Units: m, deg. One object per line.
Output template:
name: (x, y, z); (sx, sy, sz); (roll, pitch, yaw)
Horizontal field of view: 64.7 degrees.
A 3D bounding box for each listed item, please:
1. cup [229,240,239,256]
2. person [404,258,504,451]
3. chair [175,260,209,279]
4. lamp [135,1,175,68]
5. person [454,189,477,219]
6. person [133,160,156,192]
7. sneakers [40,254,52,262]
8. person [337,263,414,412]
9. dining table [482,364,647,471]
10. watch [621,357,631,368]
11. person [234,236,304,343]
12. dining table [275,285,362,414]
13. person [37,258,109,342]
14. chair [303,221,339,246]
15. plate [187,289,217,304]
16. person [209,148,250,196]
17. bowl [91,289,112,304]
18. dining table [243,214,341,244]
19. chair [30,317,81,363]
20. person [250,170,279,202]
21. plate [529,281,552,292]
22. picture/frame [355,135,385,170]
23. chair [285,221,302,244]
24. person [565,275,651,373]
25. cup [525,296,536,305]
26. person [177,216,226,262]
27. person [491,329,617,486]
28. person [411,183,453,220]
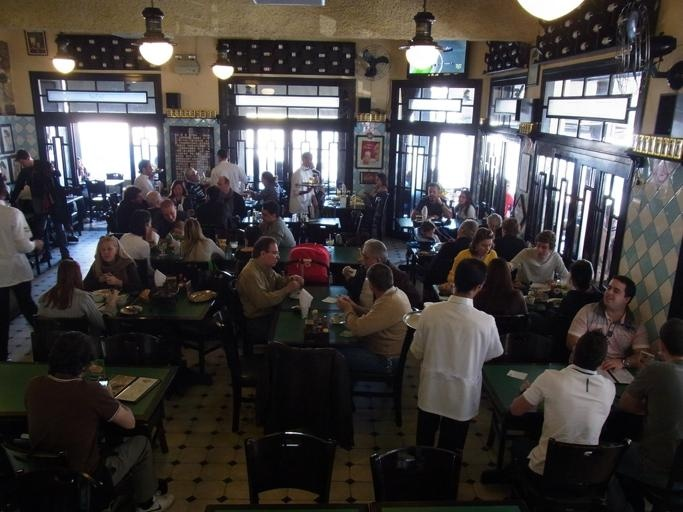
cup: (-1.539, -0.104, 7.640); (0.157, 0.251, 0.151); (0, 25, 0)
person: (0.935, 0.853, 4.469); (0.709, 1.683, 0.242); (3, 11, 15)
chair: (-1.858, 0.169, 6.723); (0.462, 0.223, 0.132); (1, 11, 2)
lamp: (-1.995, -2.400, 5.749); (0.322, 0.724, 0.825); (-3, 11, -19)
person: (2.220, -0.924, 9.806); (0.352, 0.527, 0.921); (2, 11, 11)
person: (-3.768, -1.500, 10.241); (0.333, 0.646, 1.134); (-3, 11, -18)
sneakers: (-5.447, 0.034, 9.917); (0.248, 0.170, 0.081); (16, 14, 20)
person: (0.320, 0.638, 5.167); (0.640, 1.158, 0.241); (0, 11, 0)
dining table: (1.612, 1.496, 4.818); (1.098, 0.641, 1.064); (0, 20, 3)
watch: (2.552, 0.956, 4.855); (0.078, 0.025, 0.078); (-27, -29, 16)
person: (-0.769, 0.532, 6.230); (0.810, 1.432, 0.658); (-1, 14, 3)
dining table: (-0.317, 1.156, 5.758); (1.054, 0.400, 1.698); (2, 24, -1)
person: (-2.650, 0.500, 5.374); (0.649, 0.896, 0.530); (-1, 9, -1)
chair: (-0.354, -0.402, 9.133); (0.561, 0.377, 0.528); (2, -9, 0)
plate: (-1.546, 0.445, 5.977); (0.188, 0.046, 0.172); (-18, 26, -38)
person: (-2.348, -1.492, 11.304); (0.751, 1.504, 0.455); (0, 34, -2)
bowl: (-2.546, 0.432, 5.787); (0.198, 0.072, 0.194); (2, 8, 0)
dining table: (-0.596, -0.452, 9.606); (1.666, 0.501, 0.937); (2, -6, 1)
chair: (-2.373, 0.692, 4.473); (0.333, 0.456, 0.335); (1, 30, -12)
person: (-1.447, -1.306, 10.247); (0.439, 0.572, 1.058); (-2, 11, -10)
plate: (2.381, 0.360, 6.499); (0.289, 0.091, 0.268); (-1, 10, -8)
picture/frame: (0.628, -2.450, 12.520); (0.814, 0.882, 0.065); (0, 15, -3)
chair: (-0.779, -0.375, 8.641); (0.296, 0.486, 0.281); (5, 31, 4)
person: (2.455, 0.656, 4.960); (0.759, 0.888, 0.701); (5, 3, -18)
cup: (2.171, 0.503, 6.223); (0.096, 0.074, 0.097); (0, 3, 0)
person: (-1.827, -0.144, 6.960); (0.593, 0.756, 0.485); (4, 15, 13)
person: (1.679, 1.208, 4.164); (0.755, 1.323, 0.794); (1, 14, -12)
person: (1.626, -0.963, 10.009); (0.793, 0.699, 1.014); (1, 14, 5)
